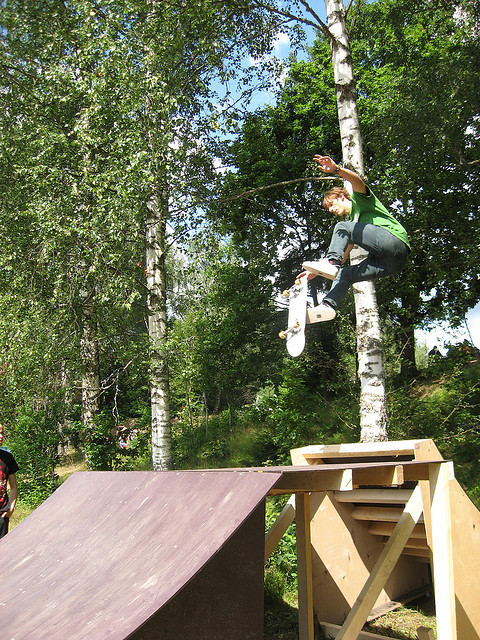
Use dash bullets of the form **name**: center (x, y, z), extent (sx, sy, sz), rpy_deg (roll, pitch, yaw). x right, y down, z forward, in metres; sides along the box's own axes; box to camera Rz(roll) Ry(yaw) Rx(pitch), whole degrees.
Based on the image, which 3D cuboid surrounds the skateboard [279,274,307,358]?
- **skateboard**: center (0.464, -0.056, 4.754), extent (0.105, 0.703, 0.203), rpy_deg (26, -36, -28)

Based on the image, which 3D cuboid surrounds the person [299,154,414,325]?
- **person**: center (0.995, -0.666, 5.006), extent (0.990, 1.530, 1.321), rpy_deg (8, -39, 4)
